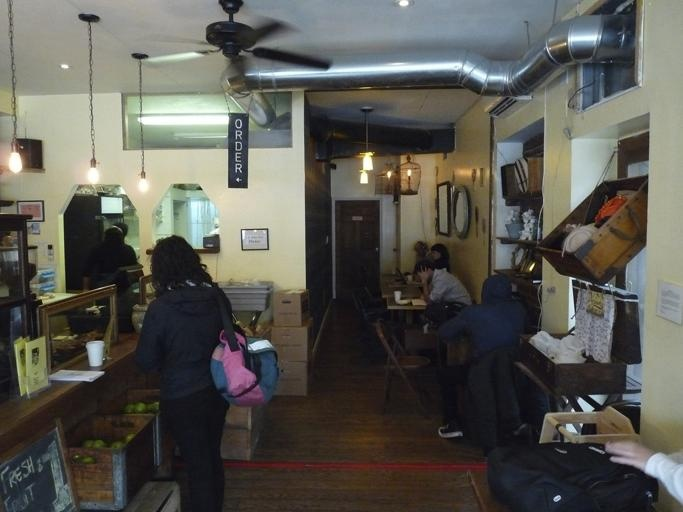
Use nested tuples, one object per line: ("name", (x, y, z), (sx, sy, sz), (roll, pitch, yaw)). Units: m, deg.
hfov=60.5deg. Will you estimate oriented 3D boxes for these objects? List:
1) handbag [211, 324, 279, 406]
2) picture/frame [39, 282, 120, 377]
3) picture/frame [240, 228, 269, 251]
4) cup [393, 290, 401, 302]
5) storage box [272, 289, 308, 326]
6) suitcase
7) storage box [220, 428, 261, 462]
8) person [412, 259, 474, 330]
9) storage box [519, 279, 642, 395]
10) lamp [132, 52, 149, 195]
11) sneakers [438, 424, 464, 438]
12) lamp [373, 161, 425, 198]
("handbag", (-0.605, 0.761, 3.911), (0.324, 0.452, 0.242), (10, 0, -30))
("picture/frame", (-1.824, 0.536, 4.161), (0.023, 0.414, 0.691), (-9, 1, 21))
("picture/frame", (-0.982, -0.199, 6.695), (0.235, 0.197, 0.023), (0, 1, -1))
("cup", (0.704, 0.511, 7.388), (0.119, 0.166, 0.103), (2, 0, 11))
("storage box", (-0.613, 0.698, 6.515), (0.284, 0.367, 0.537), (2, -27, -5))
("suitcase", (1.776, 0.635, 4.541), (0.681, 0.839, 0.914), (1, 1, 3))
("storage box", (-0.865, 1.583, 5.016), (0.253, 0.169, 0.267), (2, -1, 18))
("person", (1.200, 0.569, 7.299), (0.540, 1.044, 0.438), (-11, 6, 2))
("storage box", (1.792, 0.600, 4.494), (0.628, 0.770, 0.852), (5, 3, 0))
("lamp", (-2.250, -1.493, 6.609), (0.190, 1.563, 0.196), (1, 4, 14))
("sneakers", (0.979, 1.580, 5.288), (0.256, 0.116, 0.089), (-4, 3, 22))
("lamp", (1.011, -1.341, 10.335), (0.834, 0.663, 1.316), (1, 12, 3))
